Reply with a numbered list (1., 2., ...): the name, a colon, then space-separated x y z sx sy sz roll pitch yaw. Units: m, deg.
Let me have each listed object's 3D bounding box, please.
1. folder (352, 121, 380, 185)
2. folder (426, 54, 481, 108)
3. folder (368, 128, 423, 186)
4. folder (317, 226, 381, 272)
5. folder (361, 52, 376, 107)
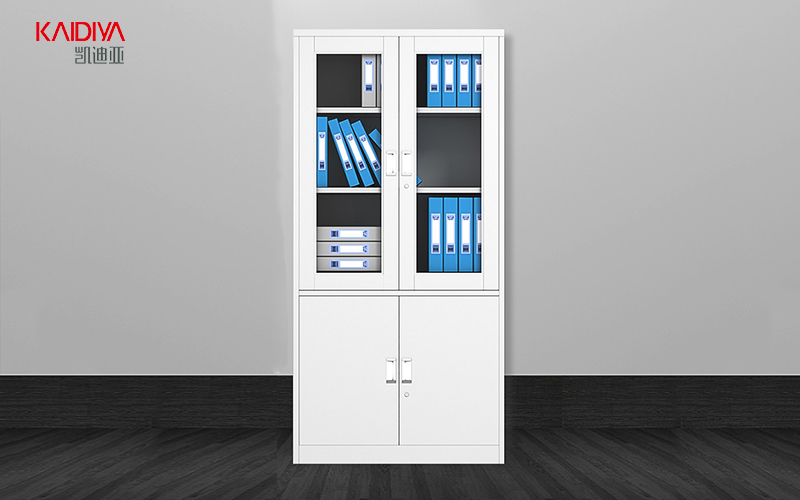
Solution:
1. folder: -0.243 -0.669 4.176 0.038 0.442 0.098 15 45 29
2. folder: 0.353 -1.147 4.092 0.437 0.332 0.150 0 1 0
3. folder: -0.068 -0.617 4.128 0.432 0.350 0.385 2 4 6
4. folder: -0.340 -0.011 4.209 0.605 0.332 0.291 0 -4 0
5. folder: -0.219 -1.131 4.097 0.132 0.335 0.036 -12 23 -35
